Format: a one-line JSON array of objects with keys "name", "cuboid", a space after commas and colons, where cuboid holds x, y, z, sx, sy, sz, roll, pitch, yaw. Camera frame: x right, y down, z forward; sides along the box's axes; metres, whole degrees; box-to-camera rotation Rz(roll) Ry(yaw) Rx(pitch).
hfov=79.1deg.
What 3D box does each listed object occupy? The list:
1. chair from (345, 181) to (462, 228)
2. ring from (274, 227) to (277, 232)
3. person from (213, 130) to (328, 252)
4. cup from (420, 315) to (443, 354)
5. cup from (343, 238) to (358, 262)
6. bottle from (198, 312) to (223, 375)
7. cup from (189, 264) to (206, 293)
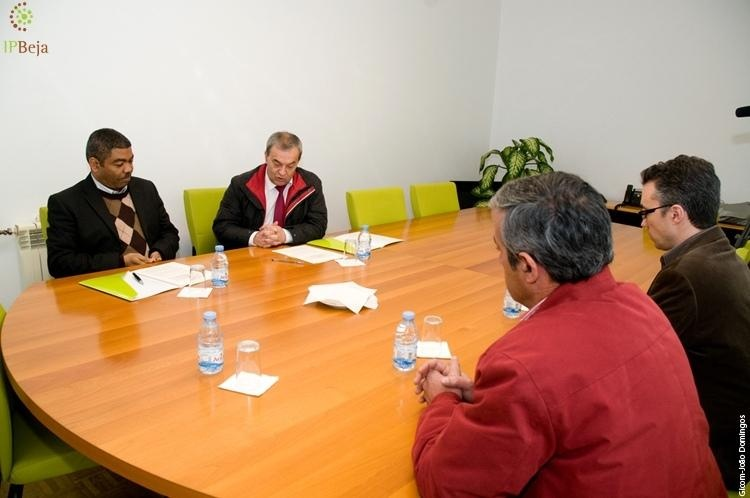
[{"name": "chair", "cuboid": [0.264, -0.433, 4.413, 0.651, 0.333, 0.289, -11, 18, -36]}, {"name": "ring", "cuboid": [-0.697, -0.137, 3.202, 0.030, 0.032, 0.009, -1, -3, -29]}, {"name": "person", "cuboid": [-0.895, -0.464, 3.700, 0.884, 1.323, 0.839, -1, 32, -16]}, {"name": "cup", "cuboid": [0.258, 0.374, 2.034, 0.116, 0.151, 0.090, 4, 8, 38]}, {"name": "cup", "cuboid": [-0.163, 0.002, 3.132, 0.118, 0.203, 0.124, -1, 11, 0]}, {"name": "bottle", "cuboid": [-0.679, 0.372, 1.864, 0.108, 0.242, 0.161, -8, 12, -21]}, {"name": "cup", "cuboid": [-0.946, 0.166, 2.496, 0.099, 0.170, 0.103, 2, 10, 0]}]
